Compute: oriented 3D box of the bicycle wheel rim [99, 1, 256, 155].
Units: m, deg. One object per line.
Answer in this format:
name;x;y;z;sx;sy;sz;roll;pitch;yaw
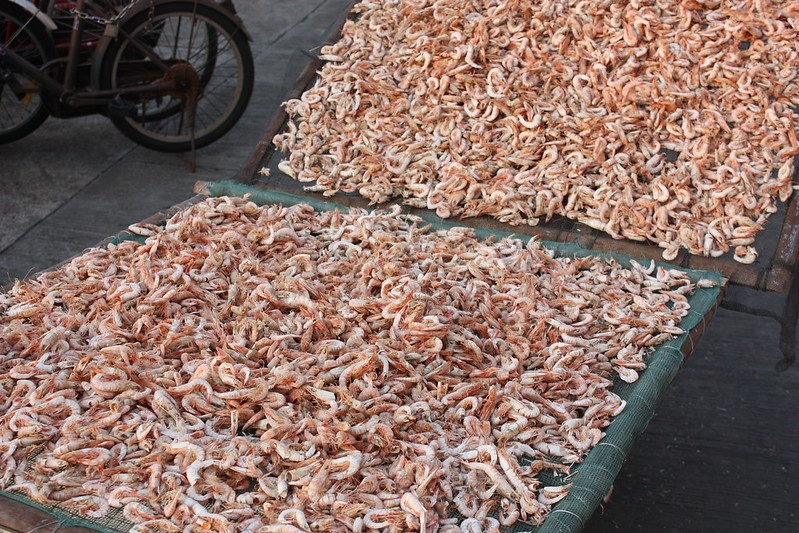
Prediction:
bicycle wheel rim;-1.996;-1.641;7.095;1.229;1.233;0.318;-41;29;-7
